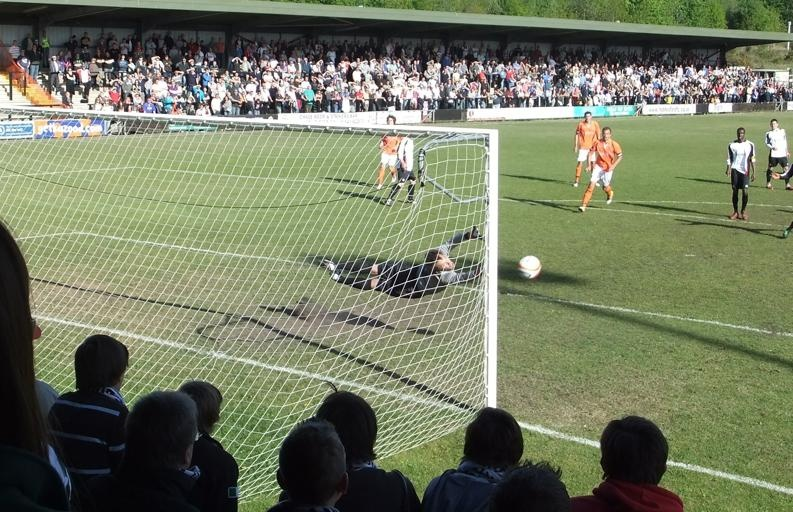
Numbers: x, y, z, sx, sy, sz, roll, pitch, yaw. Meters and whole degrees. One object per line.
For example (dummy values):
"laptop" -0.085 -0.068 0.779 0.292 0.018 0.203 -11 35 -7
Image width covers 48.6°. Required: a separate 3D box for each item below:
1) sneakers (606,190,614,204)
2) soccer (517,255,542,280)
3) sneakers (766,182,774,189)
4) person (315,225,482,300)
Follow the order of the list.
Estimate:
"sneakers" 5.230 -1.428 21.557 0.182 0.268 0.572 12 17 17
"soccer" 2.369 0.213 15.623 0.390 0.413 0.472 0 -35 17
"sneakers" 9.986 -1.860 23.581 0.089 0.206 0.191 -2 1 41
"person" 0.153 0.138 14.758 2.871 1.197 1.057 7 22 17
